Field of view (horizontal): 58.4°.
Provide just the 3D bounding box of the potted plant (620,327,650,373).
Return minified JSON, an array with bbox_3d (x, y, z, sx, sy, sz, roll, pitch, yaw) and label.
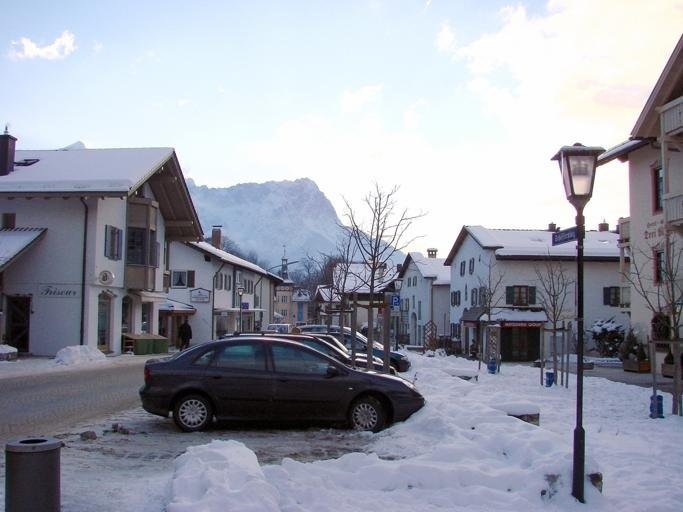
[{"bbox_3d":[13.126,4.327,27.329,0.627,1.637,1.691,-4,-3,1],"label":"potted plant"}]
